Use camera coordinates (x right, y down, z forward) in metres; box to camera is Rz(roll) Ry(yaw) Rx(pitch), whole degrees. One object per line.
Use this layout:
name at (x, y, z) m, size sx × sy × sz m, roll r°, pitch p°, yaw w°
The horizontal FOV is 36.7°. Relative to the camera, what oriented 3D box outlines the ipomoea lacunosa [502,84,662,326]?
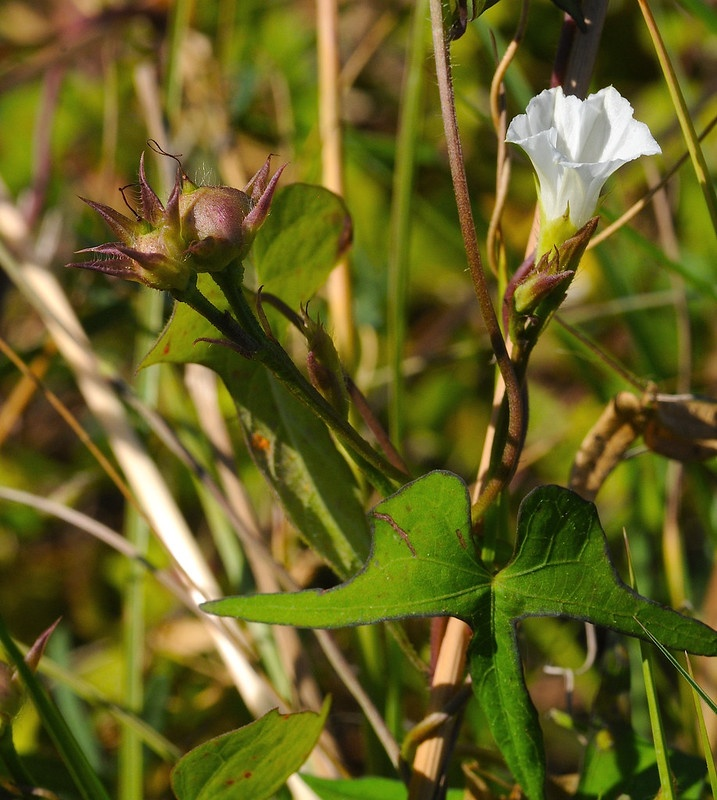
ipomoea lacunosa at (0.153, -0.154, 0.800) m, size 0.094 × 0.119 × 0.092 m, roll -28°, pitch 55°, yaw -31°
